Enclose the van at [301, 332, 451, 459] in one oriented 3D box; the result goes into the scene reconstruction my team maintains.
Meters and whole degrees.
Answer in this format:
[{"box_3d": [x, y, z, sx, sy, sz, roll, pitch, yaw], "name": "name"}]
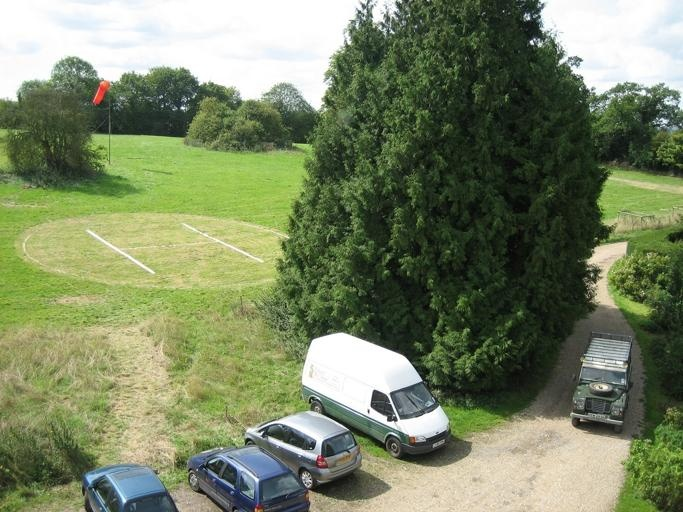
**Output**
[{"box_3d": [1.639, 6.875, 36.611, 3.760, 4.296, 7.511, -13, 23, -43], "name": "van"}]
